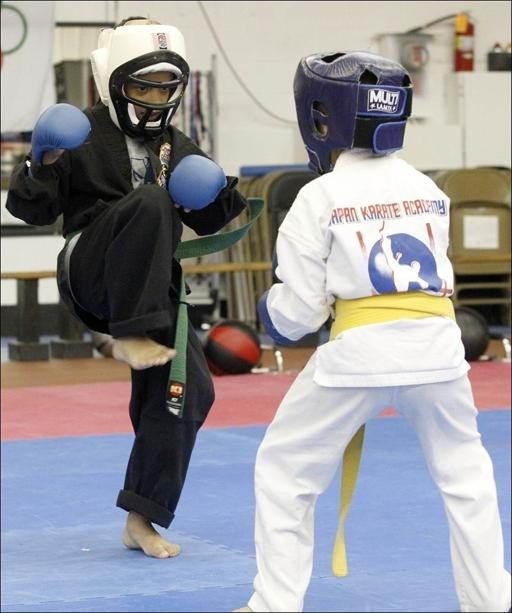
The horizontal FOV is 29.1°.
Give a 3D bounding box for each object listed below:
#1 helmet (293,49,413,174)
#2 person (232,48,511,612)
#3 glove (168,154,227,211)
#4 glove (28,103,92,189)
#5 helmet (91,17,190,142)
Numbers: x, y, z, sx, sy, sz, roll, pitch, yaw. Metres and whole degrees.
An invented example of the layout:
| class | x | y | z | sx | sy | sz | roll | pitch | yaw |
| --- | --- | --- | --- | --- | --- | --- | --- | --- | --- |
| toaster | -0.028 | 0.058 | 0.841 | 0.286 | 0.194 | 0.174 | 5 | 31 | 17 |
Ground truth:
| class | x | y | z | sx | sy | sz | roll | pitch | yaw |
| --- | --- | --- | --- | --- | --- | --- | --- | --- | --- |
| helmet | 0.215 | -0.451 | 2.238 | 0.305 | 0.219 | 0.228 | -1 | 6 | 26 |
| person | 0.253 | 0.028 | 2.098 | 0.557 | 1.151 | 0.568 | 1 | 12 | -1 |
| glove | -0.139 | -0.298 | 2.359 | 0.139 | 0.133 | 0.038 | 35 | 0 | 0 |
| glove | -0.438 | -0.394 | 2.259 | 0.146 | 0.141 | 0.156 | -4 | 12 | -24 |
| helmet | -0.293 | -0.564 | 2.421 | 0.269 | 0.289 | 0.202 | 3 | 12 | 11 |
